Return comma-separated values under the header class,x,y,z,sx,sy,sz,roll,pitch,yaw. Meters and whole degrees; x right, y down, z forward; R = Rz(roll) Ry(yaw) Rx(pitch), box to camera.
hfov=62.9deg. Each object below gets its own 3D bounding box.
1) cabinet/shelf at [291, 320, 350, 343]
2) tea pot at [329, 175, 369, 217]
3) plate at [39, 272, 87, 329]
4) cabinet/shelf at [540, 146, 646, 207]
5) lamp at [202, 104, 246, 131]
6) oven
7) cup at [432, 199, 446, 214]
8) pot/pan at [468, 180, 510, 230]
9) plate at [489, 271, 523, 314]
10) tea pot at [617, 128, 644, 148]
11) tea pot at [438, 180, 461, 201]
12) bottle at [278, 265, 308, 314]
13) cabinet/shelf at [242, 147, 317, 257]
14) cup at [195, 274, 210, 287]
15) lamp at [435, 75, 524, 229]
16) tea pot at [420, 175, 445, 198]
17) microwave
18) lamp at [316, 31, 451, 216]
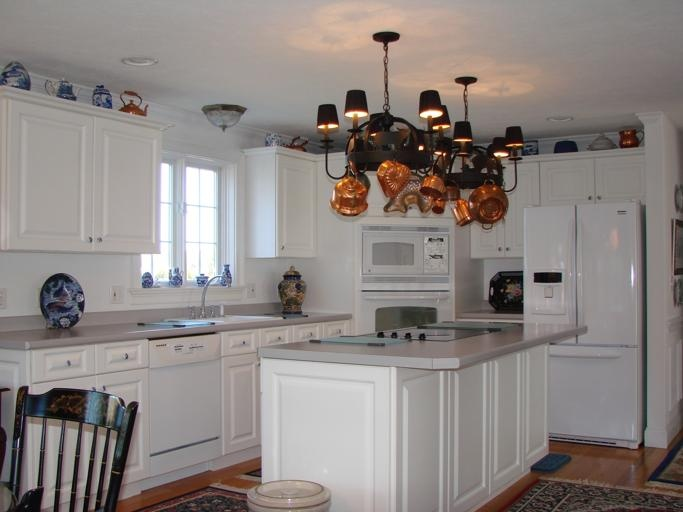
class,x,y,z,sx,sy,sz,roll,pitch,yaw
cabinet/shelf,-0.200,0.682,5.130,0.185,0.203,0.339,-4,-3,44
tea pot,0.023,-0.312,2.920,0.236,0.245,0.192,1,45,-6
plate,-1.957,0.314,3.906,0.072,0.346,0.293,-13,-14,41
cabinet/shelf,2.570,-0.770,5.782,1.022,0.581,0.336,-3,13,12
lamp,-0.972,-1.159,4.620,0.271,0.129,0.259,0,-1,-4
oven,0.735,0.600,5.812,0.987,0.604,0.591,-3,-2,24
cup,0.567,-0.292,3.314,0.089,0.089,0.087,2,4,0
pot/pan,0.883,-0.322,3.395,0.215,0.238,0.231,-1,1,12
plate,1.841,0.384,6.306,0.352,0.421,0.319,-1,1,16
tea pot,2.895,-1.157,5.576,0.290,0.187,0.187,3,-5,-28
tea pot,0.661,-0.400,3.449,0.146,0.129,0.123,0,2,5
bottle,-0.494,0.337,5.522,0.296,0.439,0.286,0,0,0
cabinet/shelf,-0.570,-0.510,5.393,0.724,1.028,0.372,-1,1,-10
cup,-1.249,0.212,4.976,0.123,0.087,0.118,2,5,0
lamp,0.809,-0.676,3.611,0.654,0.929,0.623,0,5,6
tea pot,0.490,-0.377,3.034,0.108,0.093,0.139,-5,-19,24
microwave,0.782,-0.009,5.887,1.047,0.598,0.568,0,-2,35
lamp,0.212,-0.709,2.982,0.669,0.861,0.597,-4,1,18
